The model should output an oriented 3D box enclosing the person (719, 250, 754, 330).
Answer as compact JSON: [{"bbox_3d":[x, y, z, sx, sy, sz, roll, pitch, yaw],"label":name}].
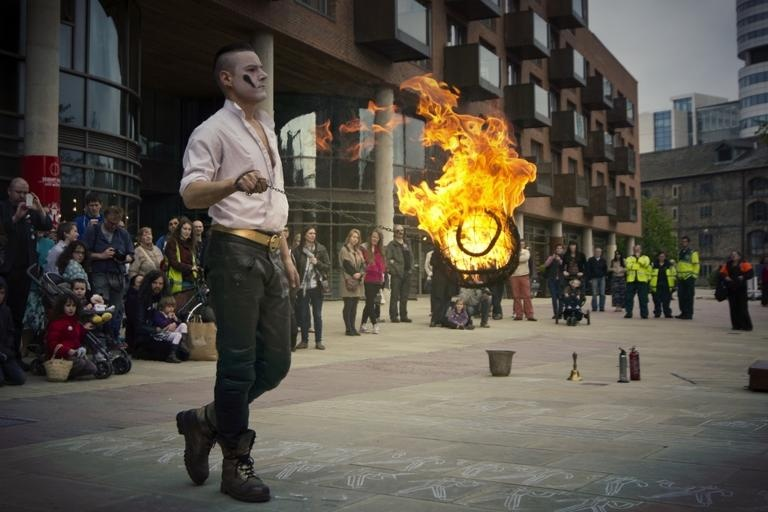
[{"bbox_3d":[8.350,0.831,20.112,0.837,1.874,1.415,3,7,21],"label":"person"}]

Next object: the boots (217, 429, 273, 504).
[{"bbox_3d":[-1.375,2.113,8.424,0.522,0.647,0.340,7,10,44],"label":"boots"}]

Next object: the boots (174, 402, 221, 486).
[{"bbox_3d":[-1.911,1.888,8.578,0.476,0.920,0.326,-3,3,20],"label":"boots"}]

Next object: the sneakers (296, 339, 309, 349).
[{"bbox_3d":[-1.566,1.718,16.019,0.092,0.103,0.263,-4,-11,37],"label":"sneakers"}]

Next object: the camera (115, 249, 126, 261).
[{"bbox_3d":[-4.546,0.002,14.526,0.200,0.149,0.077,48,-12,-30],"label":"camera"}]

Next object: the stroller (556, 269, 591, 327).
[{"bbox_3d":[5.129,1.223,21.883,0.817,1.219,1.572,1,-7,10],"label":"stroller"}]

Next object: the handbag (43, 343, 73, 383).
[{"bbox_3d":[-4.765,1.594,12.363,0.501,0.620,0.364,1,-23,-5],"label":"handbag"}]

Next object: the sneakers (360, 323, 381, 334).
[{"bbox_3d":[-0.314,1.680,19.015,0.181,0.203,0.507,6,-13,-35],"label":"sneakers"}]

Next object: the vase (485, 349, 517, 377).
[{"bbox_3d":[1.789,1.680,13.088,0.418,0.300,0.431,-2,-7,36],"label":"vase"}]

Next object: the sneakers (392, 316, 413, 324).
[{"bbox_3d":[0.445,1.679,21.569,0.525,0.203,0.170,0,-5,2],"label":"sneakers"}]

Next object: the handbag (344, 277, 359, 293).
[{"bbox_3d":[-0.739,0.657,18.013,0.268,0.345,0.331,4,8,-7],"label":"handbag"}]

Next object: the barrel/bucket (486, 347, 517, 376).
[{"bbox_3d":[1.803,1.669,13.086,0.417,0.298,0.429,2,-6,0],"label":"barrel/bucket"}]
